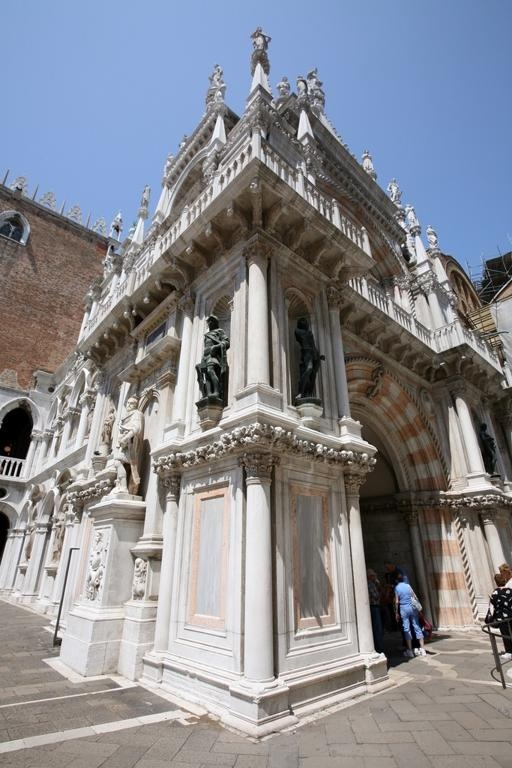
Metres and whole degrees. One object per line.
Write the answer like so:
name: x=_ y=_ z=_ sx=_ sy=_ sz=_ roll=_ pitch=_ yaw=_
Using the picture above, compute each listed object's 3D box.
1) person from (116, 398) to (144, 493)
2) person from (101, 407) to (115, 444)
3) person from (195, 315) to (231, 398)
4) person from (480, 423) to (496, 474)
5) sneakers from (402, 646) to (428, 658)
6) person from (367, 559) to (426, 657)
person: x=-2.524 y=1.101 z=9.045 sx=0.501 sy=2.108 sz=0.651 roll=6 pitch=-25 yaw=-14
person: x=-3.972 y=1.054 z=11.985 sx=0.240 sy=0.966 sz=0.322 roll=22 pitch=-62 yaw=-30
person: x=-0.692 y=-0.343 z=7.296 sx=0.486 sy=1.408 sz=0.509 roll=9 pitch=-26 yaw=-21
person: x=7.062 y=1.847 z=13.608 sx=0.382 sy=1.655 sz=0.722 roll=-10 pitch=-26 yaw=20
sneakers: x=2.915 y=4.777 z=8.205 sx=0.180 sy=0.170 sz=0.413 roll=0 pitch=-25 yaw=-7
person: x=2.848 y=4.362 z=8.972 sx=0.855 sy=1.524 sz=1.842 roll=-8 pitch=-25 yaw=17
